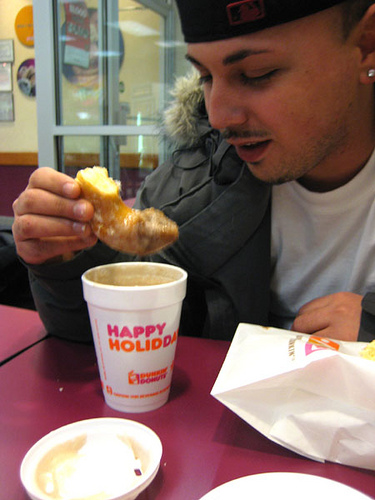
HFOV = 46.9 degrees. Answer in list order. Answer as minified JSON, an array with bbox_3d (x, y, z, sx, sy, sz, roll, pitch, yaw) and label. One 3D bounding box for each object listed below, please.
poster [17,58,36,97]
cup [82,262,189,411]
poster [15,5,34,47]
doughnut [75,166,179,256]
[{"bbox_3d":[-1.310,-1.424,3.552,0.026,0.292,0.303,19,15,12],"label":"poster"},{"bbox_3d":[-0.063,0.108,0.549,0.124,0.165,0.135,0,12,0],"label":"cup"},{"bbox_3d":[-1.290,-1.790,3.470,0.197,0.315,0.087,10,15,38],"label":"poster"},{"bbox_3d":[-0.090,-0.047,0.596,0.092,0.055,0.159,-34,54,-20],"label":"doughnut"}]
